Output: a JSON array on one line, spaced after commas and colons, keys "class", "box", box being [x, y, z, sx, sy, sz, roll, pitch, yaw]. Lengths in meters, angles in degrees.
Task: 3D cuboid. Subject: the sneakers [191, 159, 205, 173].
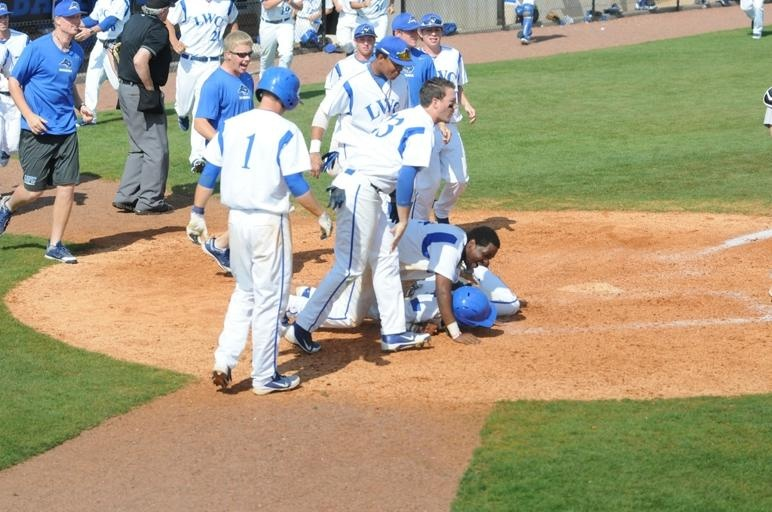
[{"class": "sneakers", "box": [-2.988, -1.372, 13.811, 0.187, 0.194, 0.473, -7, 11, -24]}]

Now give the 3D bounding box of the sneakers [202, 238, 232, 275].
[{"class": "sneakers", "box": [-2.056, 0.006, 10.856, 0.223, 0.482, 0.164, -35, 27, 24]}]

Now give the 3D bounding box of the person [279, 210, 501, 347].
[{"class": "person", "box": [0.076, 0.244, 9.748, 2.284, 0.979, 1.235, 0, 13, 3]}]

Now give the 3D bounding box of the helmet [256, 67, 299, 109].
[{"class": "helmet", "box": [-0.973, -1.592, 8.516, 0.402, 0.306, 0.438, 17, 9, 12]}]
